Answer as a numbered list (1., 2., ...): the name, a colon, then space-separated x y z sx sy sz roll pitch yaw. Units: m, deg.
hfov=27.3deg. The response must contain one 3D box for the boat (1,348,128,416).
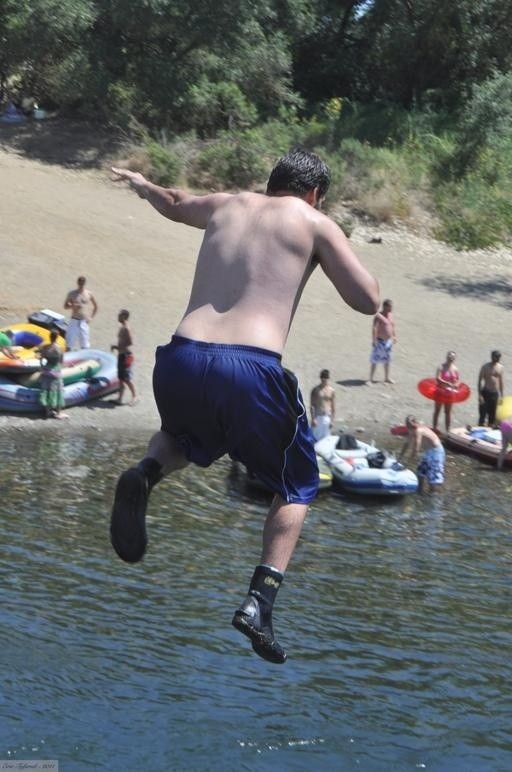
1. boat: -2.861 -0.057 15.794 0.861 0.280 1.417 22 22 28

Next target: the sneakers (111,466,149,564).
1. sneakers: -0.615 0.648 5.359 0.221 0.476 0.205 2 3 18

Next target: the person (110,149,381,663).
1. person: -0.076 0.167 5.193 1.080 2.207 0.689 11 11 5

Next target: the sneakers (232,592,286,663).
1. sneakers: 0.022 1.186 5.125 0.278 0.373 0.199 10 11 0

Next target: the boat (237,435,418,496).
1. boat: 1.203 1.144 14.033 0.949 0.551 1.833 -5 11 -32

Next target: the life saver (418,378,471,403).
1. life saver: 2.970 0.103 16.780 0.761 0.414 0.790 10 10 6

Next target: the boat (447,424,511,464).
1. boat: 3.397 0.882 16.125 0.732 0.195 0.540 12 10 36
